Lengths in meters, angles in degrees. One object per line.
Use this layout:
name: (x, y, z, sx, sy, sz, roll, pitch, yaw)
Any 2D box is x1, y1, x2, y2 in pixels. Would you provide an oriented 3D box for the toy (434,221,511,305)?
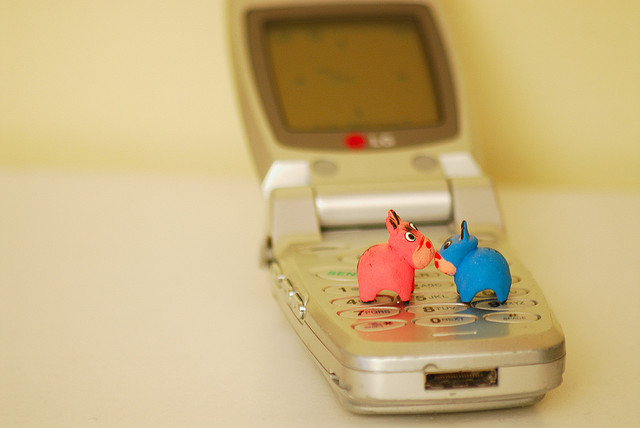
toy: (0.190, 0.059, 0.735, 0.112, 0.106, 0.074, 3, 6, 3)

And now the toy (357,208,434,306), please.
toy: (0.096, 0.052, 0.741, 0.103, 0.115, 0.073, 1, 12, 19)
